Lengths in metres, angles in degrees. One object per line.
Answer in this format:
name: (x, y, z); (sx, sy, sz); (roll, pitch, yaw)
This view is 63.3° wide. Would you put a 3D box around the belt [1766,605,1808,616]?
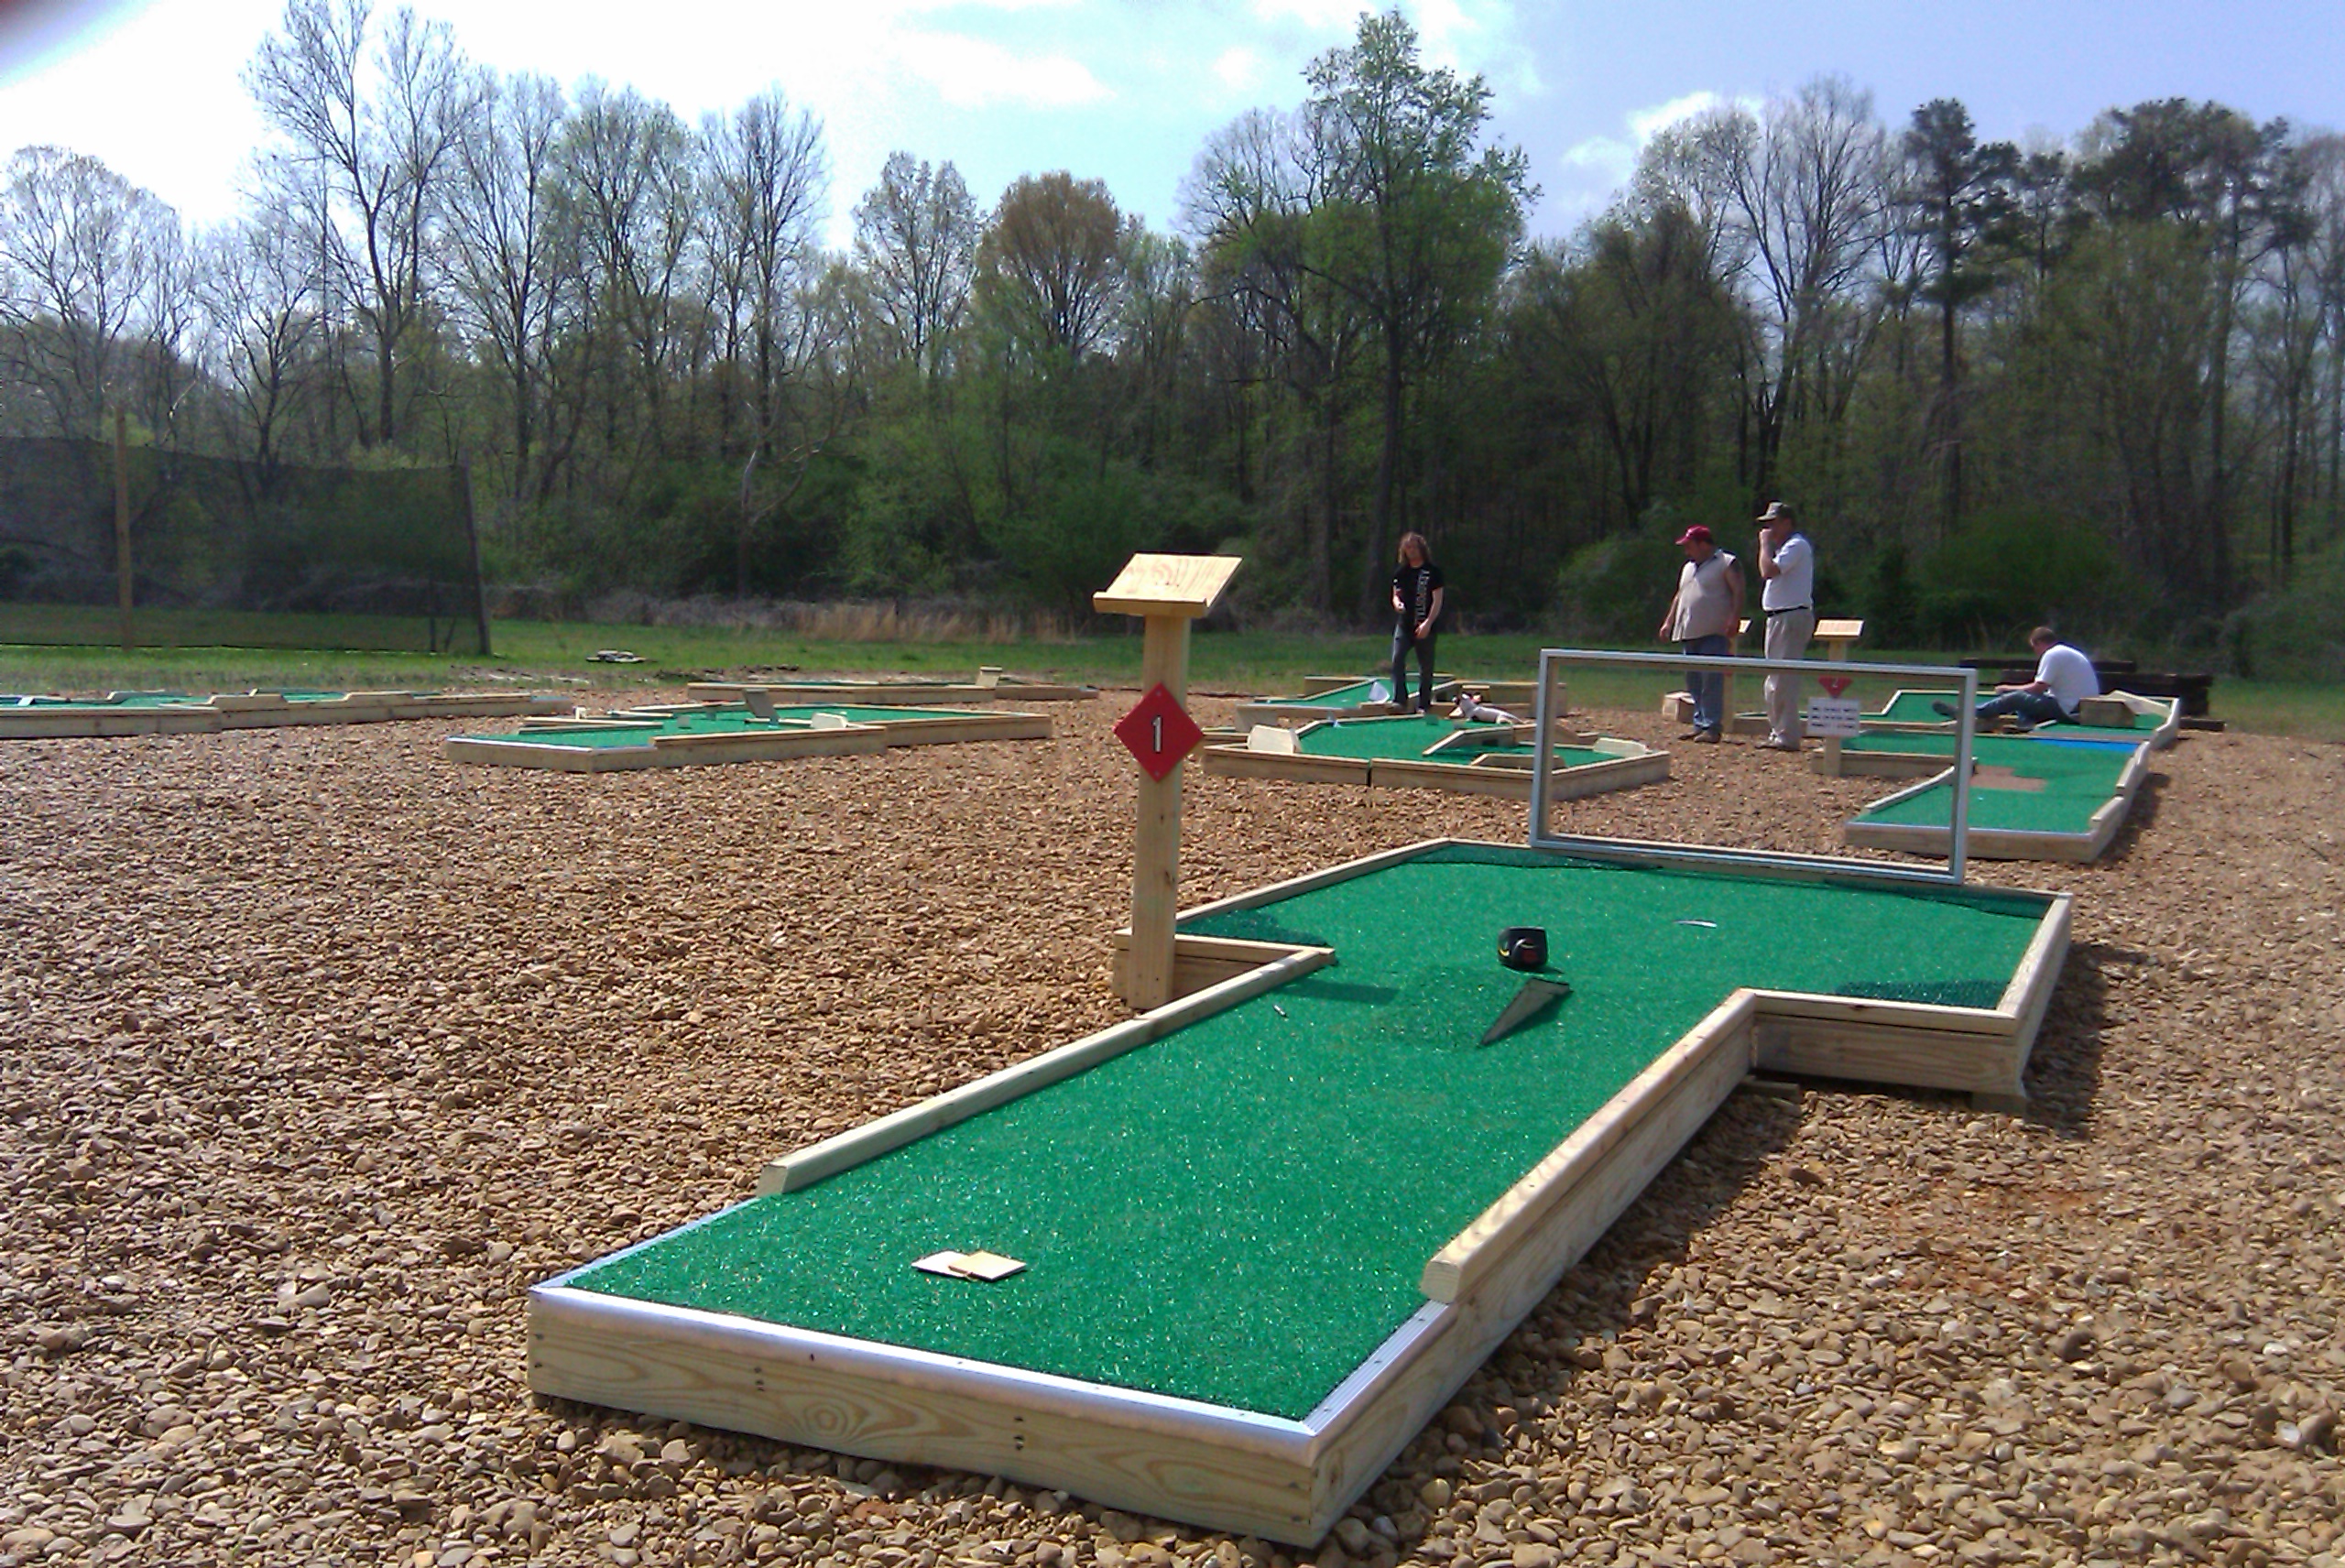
belt: (4.813, -1.398, 15.074); (0.154, 0.086, 0.491); (-4, 8, -35)
